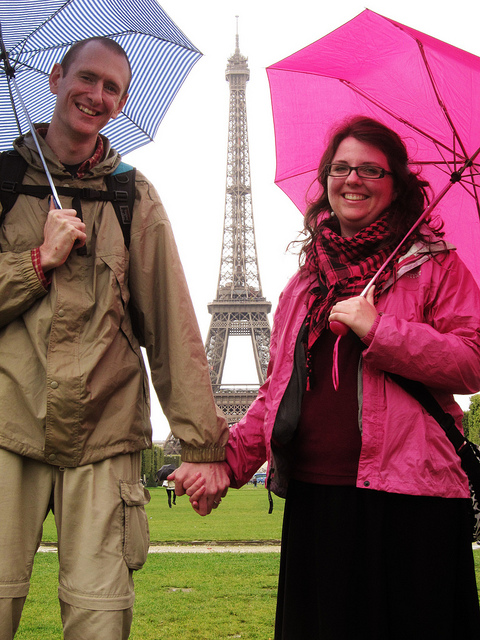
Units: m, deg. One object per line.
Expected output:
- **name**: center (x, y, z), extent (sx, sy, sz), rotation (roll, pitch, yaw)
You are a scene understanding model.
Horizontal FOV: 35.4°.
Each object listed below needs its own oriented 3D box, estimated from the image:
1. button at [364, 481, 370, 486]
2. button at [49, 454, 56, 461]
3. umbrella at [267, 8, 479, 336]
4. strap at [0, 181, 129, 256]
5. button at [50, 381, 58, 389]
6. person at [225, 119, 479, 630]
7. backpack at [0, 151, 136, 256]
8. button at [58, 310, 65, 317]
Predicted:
- **button**: center (0.467, 0.606, 2.770), extent (0.016, 0.017, 0.006), rotation (-15, -11, 6)
- **button**: center (-0.673, 0.495, 2.698), extent (0.022, 0.023, 0.005), rotation (1, 0, -10)
- **umbrella**: center (0.622, -0.664, 3.495), extent (1.172, 1.308, 0.774), rotation (-8, -13, 39)
- **strap**: center (-0.699, -0.388, 2.904), extent (0.316, 0.224, 0.035), rotation (9, -38, -20)
- **button**: center (-0.663, 0.235, 2.685), extent (0.027, 0.027, 0.011), rotation (5, -11, -21)
- **person**: center (0.514, 0.175, 3.106), extent (0.898, 2.201, 0.508), rotation (-9, -14, 43)
- **backpack**: center (-0.691, -0.446, 2.920), extent (0.427, 0.401, 0.426), rotation (7, -47, -12)
- **button**: center (-0.659, -0.022, 2.779), extent (0.023, 0.027, 0.004), rotation (3, -10, -14)
